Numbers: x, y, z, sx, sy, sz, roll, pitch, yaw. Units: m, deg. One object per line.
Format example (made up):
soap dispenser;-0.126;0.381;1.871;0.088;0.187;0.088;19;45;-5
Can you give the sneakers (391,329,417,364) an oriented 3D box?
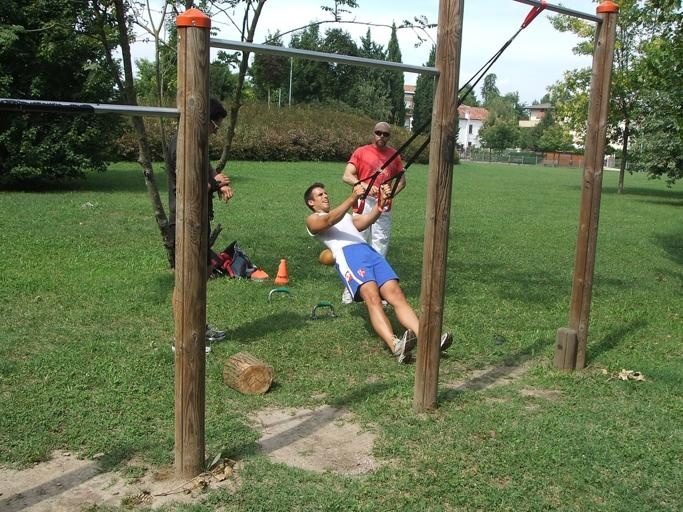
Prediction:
sneakers;0.701;0.975;7.236;0.166;0.439;0.191;-11;38;-44

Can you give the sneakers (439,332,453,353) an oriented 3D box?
sneakers;1.087;0.890;6.926;0.149;0.213;0.067;8;19;-43

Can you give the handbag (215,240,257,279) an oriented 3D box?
handbag;-1.654;0.058;10.286;0.434;0.361;0.662;-5;13;-25

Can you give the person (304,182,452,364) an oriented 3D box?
person;0.394;0.276;8.230;0.831;1.323;2.814;-4;45;-42

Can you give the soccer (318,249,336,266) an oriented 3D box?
soccer;-0.232;0.042;10.807;0.262;0.154;0.268;19;5;40
